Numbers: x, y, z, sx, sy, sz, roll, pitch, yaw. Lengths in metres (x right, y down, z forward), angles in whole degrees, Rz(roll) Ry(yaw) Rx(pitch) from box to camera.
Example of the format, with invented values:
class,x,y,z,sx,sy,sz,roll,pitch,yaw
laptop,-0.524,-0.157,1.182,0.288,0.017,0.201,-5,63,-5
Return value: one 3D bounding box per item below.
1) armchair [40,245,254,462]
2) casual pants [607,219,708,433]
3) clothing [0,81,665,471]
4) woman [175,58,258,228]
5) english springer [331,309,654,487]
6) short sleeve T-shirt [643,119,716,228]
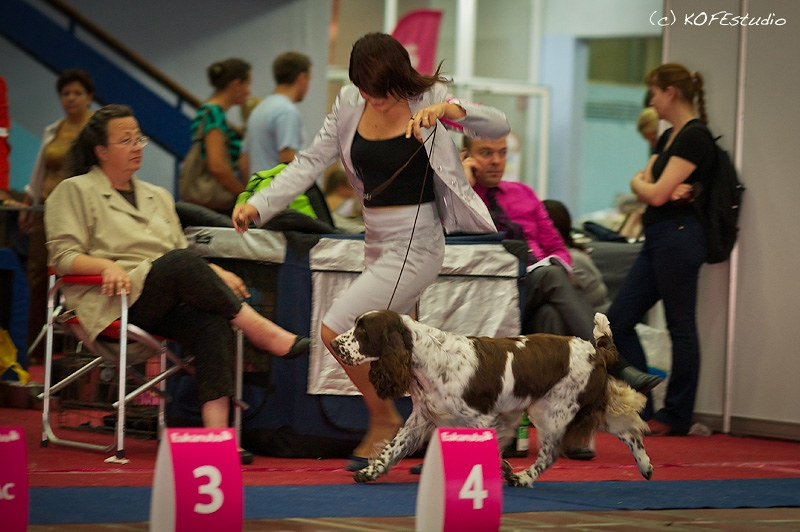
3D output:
class,x,y,z,sx,sy,sz,roll,pitch,yaw
armchair,-1.685,0.571,5.003,1.220,1.450,1.131,4,-11,-30
casual pants,1.867,0.185,5.910,0.695,2.025,0.526,4,6,26
clothing,-0.445,0.165,5.211,1.905,2.527,1.643,-6,-8,24
woman,-1.432,-0.687,6.507,0.644,1.890,0.612,2,21,-11
english springer,0.565,0.699,4.201,1.658,0.844,0.376,2,1,-11
short sleeve T-shirt,2.037,-0.695,5.843,0.413,0.673,0.717,4,8,9
